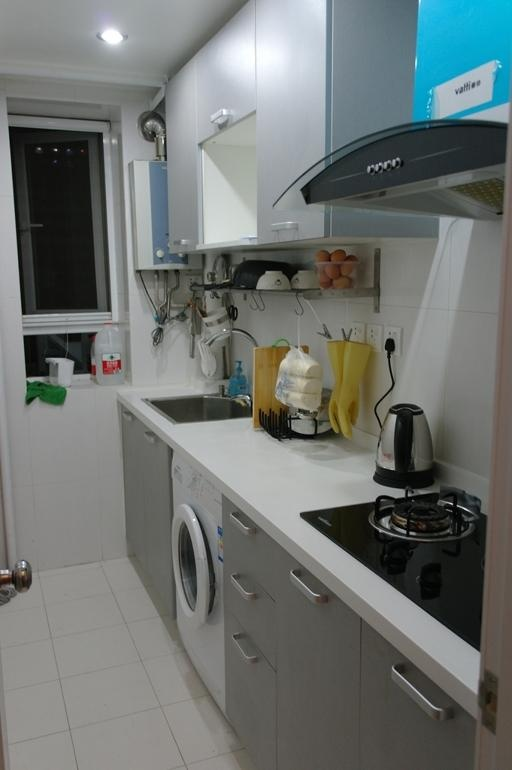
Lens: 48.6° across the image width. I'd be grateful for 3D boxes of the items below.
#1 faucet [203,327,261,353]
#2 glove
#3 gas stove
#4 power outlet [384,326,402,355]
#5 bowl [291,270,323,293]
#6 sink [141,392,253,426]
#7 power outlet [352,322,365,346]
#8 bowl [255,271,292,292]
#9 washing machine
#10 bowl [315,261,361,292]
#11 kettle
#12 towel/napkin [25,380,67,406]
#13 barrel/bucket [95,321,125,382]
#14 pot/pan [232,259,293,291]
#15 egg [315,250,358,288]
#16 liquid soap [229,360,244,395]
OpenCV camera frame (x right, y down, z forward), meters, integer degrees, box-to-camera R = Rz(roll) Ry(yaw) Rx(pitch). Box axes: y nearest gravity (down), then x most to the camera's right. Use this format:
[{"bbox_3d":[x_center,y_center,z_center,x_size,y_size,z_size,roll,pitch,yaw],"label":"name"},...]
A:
[{"bbox_3d":[-0.118,-0.222,2.833,0.267,0.169,0.075,7,34,7],"label":"faucet"},{"bbox_3d":[0.295,0.015,1.815,0.133,0.304,0.081,0,7,7],"label":"glove"},{"bbox_3d":[0.379,0.300,1.209,0.314,0.072,0.472,0,7,-24],"label":"gas stove"},{"bbox_3d":[0.418,-0.132,1.723,0.009,0.088,0.070,-3,13,-20],"label":"power outlet"},{"bbox_3d":[0.187,-0.384,2.118,0.100,0.072,0.108,1,8,0],"label":"bowl"},{"bbox_3d":[-0.293,0.100,2.786,0.350,0.178,0.443,-3,9,-24],"label":"sink"},{"bbox_3d":[0.341,-0.167,1.886,0.009,0.079,0.071,-1,11,-19],"label":"power outlet"},{"bbox_3d":[0.064,-0.387,2.147,0.089,0.057,0.096,-1,6,0],"label":"bowl"},{"bbox_3d":[-0.110,0.686,2.014,0.271,0.767,0.331,-3,9,-25],"label":"washing machine"},{"bbox_3d":[0.266,-0.343,1.802,0.134,0.088,0.162,-1,8,1],"label":"bowl"},{"bbox_3d":[0.382,0.165,1.568,0.148,0.218,0.200,1,13,9],"label":"kettle"},{"bbox_3d":[-1.114,0.055,2.994,0.161,0.141,0.059,5,-17,-17],"label":"towel/napkin"},{"bbox_3d":[-0.846,-0.161,3.250,0.185,0.374,0.210,-10,4,-10],"label":"barrel/bucket"},{"bbox_3d":[-0.003,-0.437,2.324,0.219,0.127,0.270,-2,11,-28],"label":"pot/pan"},{"bbox_3d":[0.257,-0.352,1.816,0.120,0.100,0.121,2,4,19],"label":"egg"},{"bbox_3d":[-0.099,-0.027,2.862,0.078,0.178,0.206,-1,8,-2],"label":"liquid soap"}]
